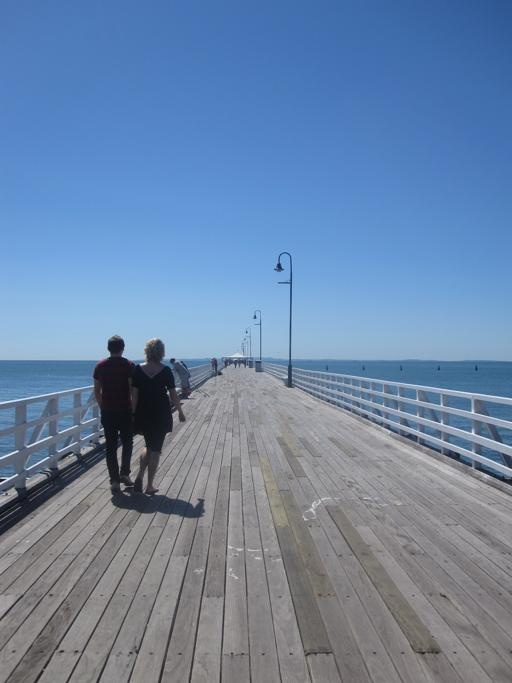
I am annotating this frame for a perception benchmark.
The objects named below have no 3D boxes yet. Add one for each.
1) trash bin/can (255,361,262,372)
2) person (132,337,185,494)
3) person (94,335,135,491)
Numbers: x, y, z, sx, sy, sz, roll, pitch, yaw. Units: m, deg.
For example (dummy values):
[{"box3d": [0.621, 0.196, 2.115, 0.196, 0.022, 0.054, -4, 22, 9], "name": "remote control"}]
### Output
[{"box3d": [0.241, 2.896, 51.516, 0.728, 1.503, 0.836, 0, -2, -6], "name": "trash bin/can"}, {"box3d": [-1.261, 0.943, 5.667, 0.582, 1.938, 0.313, 1, -2, -11], "name": "person"}, {"box3d": [-1.830, 0.919, 5.832, 0.506, 1.989, 0.551, 1, -3, -22], "name": "person"}]
